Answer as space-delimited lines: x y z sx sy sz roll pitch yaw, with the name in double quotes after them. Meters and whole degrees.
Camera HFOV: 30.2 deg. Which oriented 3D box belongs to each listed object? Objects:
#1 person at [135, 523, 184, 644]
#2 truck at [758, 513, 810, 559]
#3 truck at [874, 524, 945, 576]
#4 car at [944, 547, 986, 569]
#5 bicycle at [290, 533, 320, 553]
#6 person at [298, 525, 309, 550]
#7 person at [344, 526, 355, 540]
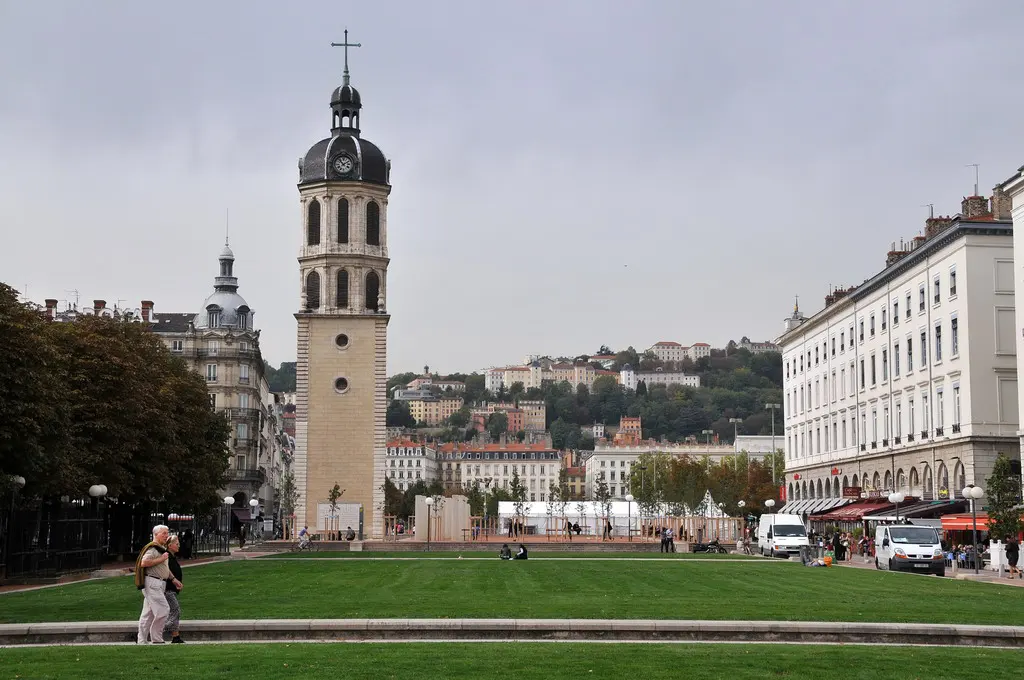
-12.885 8.660 68.003 1.292 4.139 0.765 2 -13 -10 "person"
15.644 10.940 109.042 1.743 2.945 7.533 1 -12 -4 "truck"
19.996 10.397 95.609 2.053 2.853 4.406 4 -13 -21 "truck"
23.674 11.283 99.418 1.765 0.585 1.736 -2 -3 29 "car"
-13.175 12.621 119.671 1.166 1.031 1.767 -1 -11 -5 "bicycle"
-13.329 12.288 119.133 0.932 1.321 0.757 4 -8 4 "person"
-10.813 12.556 125.393 0.664 1.020 1.537 1 -12 -5 "person"
